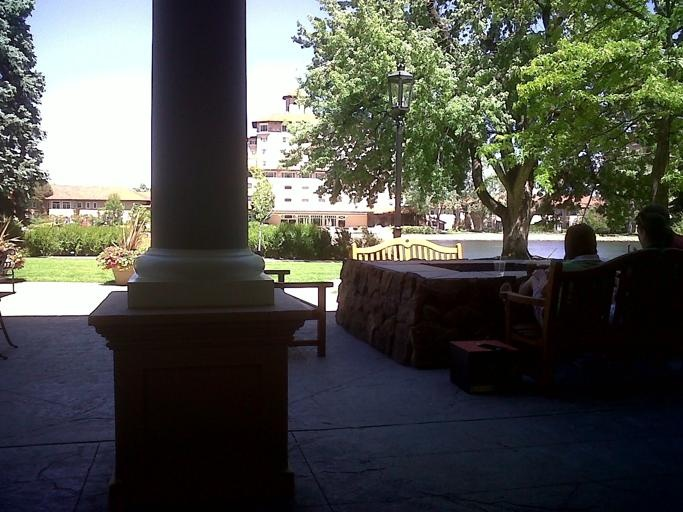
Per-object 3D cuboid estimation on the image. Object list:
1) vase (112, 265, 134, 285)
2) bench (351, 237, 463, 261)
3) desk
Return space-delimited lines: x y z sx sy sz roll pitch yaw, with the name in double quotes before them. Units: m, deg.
"vase" -5.849 0.518 13.913 0.841 0.521 0.343 2 4 30
"bench" 1.237 -0.123 9.807 2.205 0.411 0.641 -2 4 -21
"desk" 1.318 0.375 5.898 1.448 0.590 1.502 -2 5 -17
